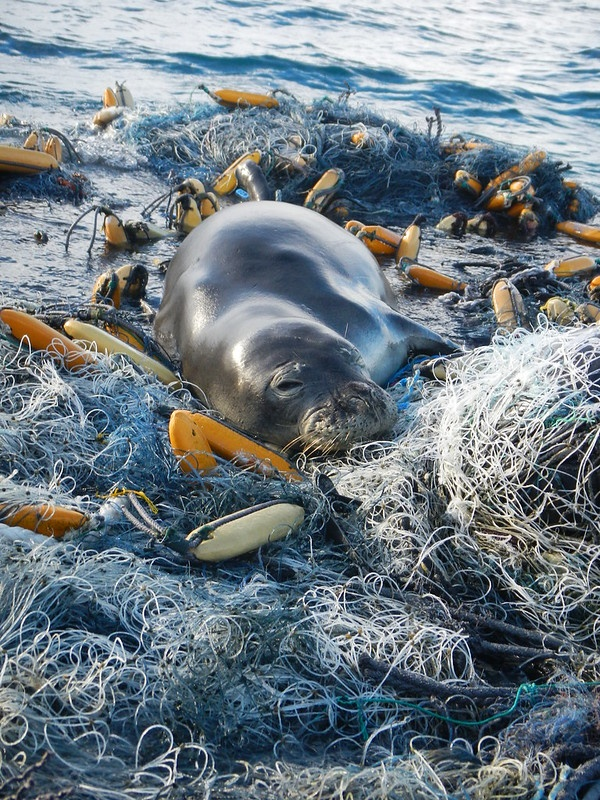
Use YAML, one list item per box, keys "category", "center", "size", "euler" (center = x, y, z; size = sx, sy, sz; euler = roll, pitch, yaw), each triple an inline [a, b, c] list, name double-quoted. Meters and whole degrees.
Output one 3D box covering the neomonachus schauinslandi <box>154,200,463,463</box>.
- category: "neomonachus schauinslandi"
  center: [-0.093, -0.539, 6.239]
  size: [1.683, 1.277, 2.448]
  euler: [4, 15, -9]
